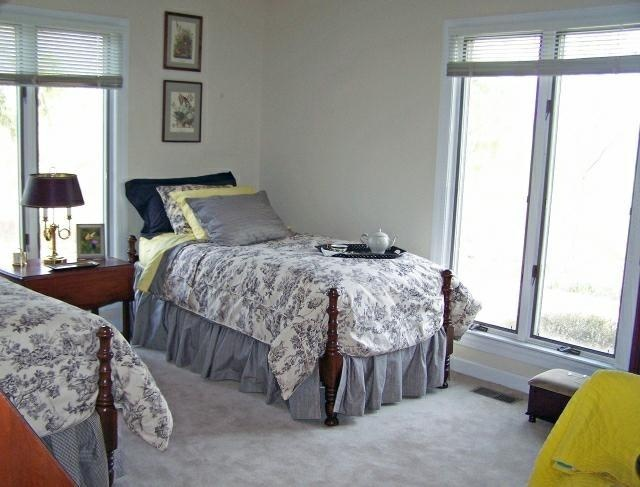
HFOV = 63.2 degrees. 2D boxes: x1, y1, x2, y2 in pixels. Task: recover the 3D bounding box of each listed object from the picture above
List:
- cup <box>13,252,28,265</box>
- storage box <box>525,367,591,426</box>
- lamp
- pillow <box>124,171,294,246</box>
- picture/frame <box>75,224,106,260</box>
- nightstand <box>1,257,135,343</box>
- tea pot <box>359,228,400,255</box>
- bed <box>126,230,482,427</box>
[{"bbox_3d":[-2.091,0.098,3.647,0.091,0.070,0.082,6,5,29],"label":"cup"},{"bbox_3d":[1.474,0.972,3.278,0.273,0.318,0.266,12,15,39],"label":"storage box"},{"bbox_3d":[-2.074,-0.190,4.020,0.368,0.744,1.088,-5,14,-29],"label":"lamp"},{"bbox_3d":[-1.323,-0.398,4.694,0.688,0.636,0.198,-11,-14,-32],"label":"pillow"},{"bbox_3d":[-1.721,-0.018,3.894,0.248,0.318,0.021,-4,5,-39],"label":"picture/frame"},{"bbox_3d":[-1.817,0.317,3.803,0.444,0.584,0.615,6,8,41],"label":"nightstand"},{"bbox_3d":[0.417,-0.007,3.794,0.301,0.217,0.201,1,0,4],"label":"tea pot"},{"bbox_3d":[-0.283,0.344,3.620,1.735,0.671,1.190,7,11,41],"label":"bed"}]
